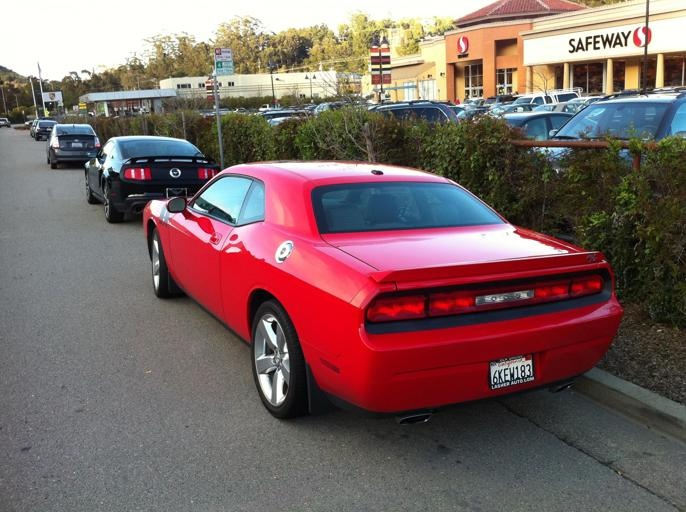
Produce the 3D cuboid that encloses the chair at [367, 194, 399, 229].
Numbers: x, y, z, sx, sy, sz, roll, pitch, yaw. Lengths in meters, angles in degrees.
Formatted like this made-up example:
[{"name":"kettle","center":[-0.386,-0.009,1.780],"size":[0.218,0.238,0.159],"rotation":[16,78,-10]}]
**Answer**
[{"name":"chair","center":[0.328,-0.376,3.979],"size":[0.262,0.242,0.443],"rotation":[1,14,6]}]
